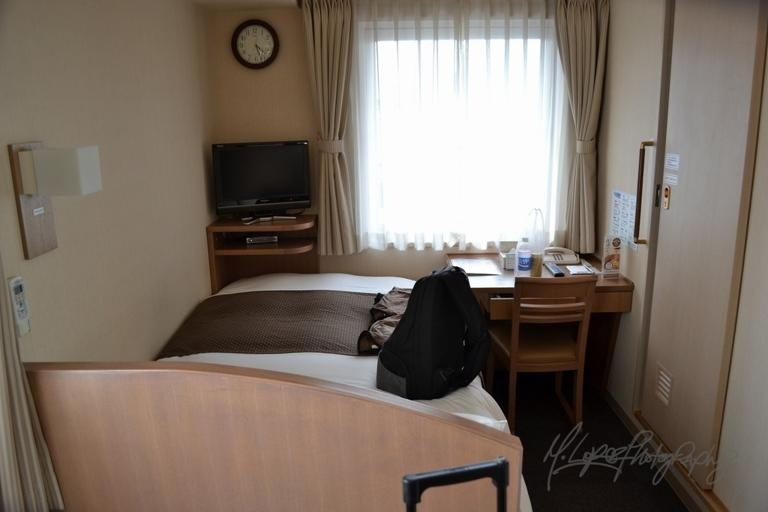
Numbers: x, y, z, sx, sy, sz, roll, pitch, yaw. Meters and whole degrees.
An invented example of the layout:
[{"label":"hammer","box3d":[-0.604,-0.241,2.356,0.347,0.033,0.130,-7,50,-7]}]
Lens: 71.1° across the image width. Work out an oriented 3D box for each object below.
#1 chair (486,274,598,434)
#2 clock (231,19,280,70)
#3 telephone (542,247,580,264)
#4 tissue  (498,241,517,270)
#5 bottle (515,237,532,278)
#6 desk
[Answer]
[{"label":"chair","box3d":[1.074,0.586,3.682,0.568,1.071,0.701,-1,10,-4]},{"label":"clock","box3d":[-0.954,-1.595,3.992,0.316,0.352,0.045,1,10,-1]},{"label":"telephone","box3d":[1.290,0.004,3.929,0.196,0.075,0.148,1,11,7]},{"label":"tissue ","box3d":[0.925,-0.001,4.008,0.126,0.105,0.234,0,9,5]},{"label":"bottle","box3d":[0.963,0.019,3.704,0.116,0.200,0.144,1,12,14]},{"label":"desk","box3d":[1.082,0.374,3.852,1.415,1.197,0.824,0,0,2]}]
